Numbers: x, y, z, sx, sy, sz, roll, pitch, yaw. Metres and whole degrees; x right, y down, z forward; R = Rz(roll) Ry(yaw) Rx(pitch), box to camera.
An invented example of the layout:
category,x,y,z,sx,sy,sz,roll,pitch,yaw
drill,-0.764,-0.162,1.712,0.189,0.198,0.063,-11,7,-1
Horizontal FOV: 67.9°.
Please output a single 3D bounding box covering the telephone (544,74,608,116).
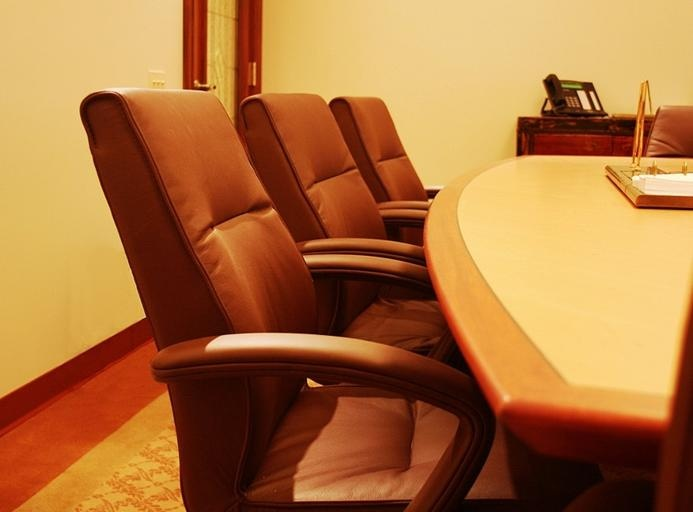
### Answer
category,x,y,z,sx,sy,sz,roll,pitch,yaw
telephone,1.518,-1.075,3.451,0.362,0.287,0.239,0,9,-6
